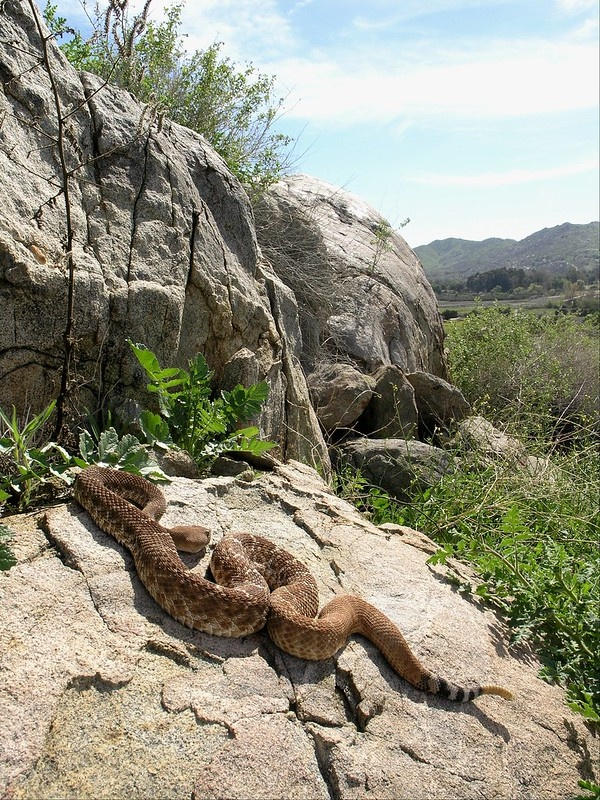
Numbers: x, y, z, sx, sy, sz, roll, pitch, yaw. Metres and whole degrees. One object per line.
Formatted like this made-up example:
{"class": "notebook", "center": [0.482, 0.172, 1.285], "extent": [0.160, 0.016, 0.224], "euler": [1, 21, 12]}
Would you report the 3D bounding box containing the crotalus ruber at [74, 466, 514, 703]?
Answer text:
{"class": "crotalus ruber", "center": [-0.071, 1.009, 3.987], "extent": [1.936, 0.668, 1.857], "euler": [-1, 15, -35]}
